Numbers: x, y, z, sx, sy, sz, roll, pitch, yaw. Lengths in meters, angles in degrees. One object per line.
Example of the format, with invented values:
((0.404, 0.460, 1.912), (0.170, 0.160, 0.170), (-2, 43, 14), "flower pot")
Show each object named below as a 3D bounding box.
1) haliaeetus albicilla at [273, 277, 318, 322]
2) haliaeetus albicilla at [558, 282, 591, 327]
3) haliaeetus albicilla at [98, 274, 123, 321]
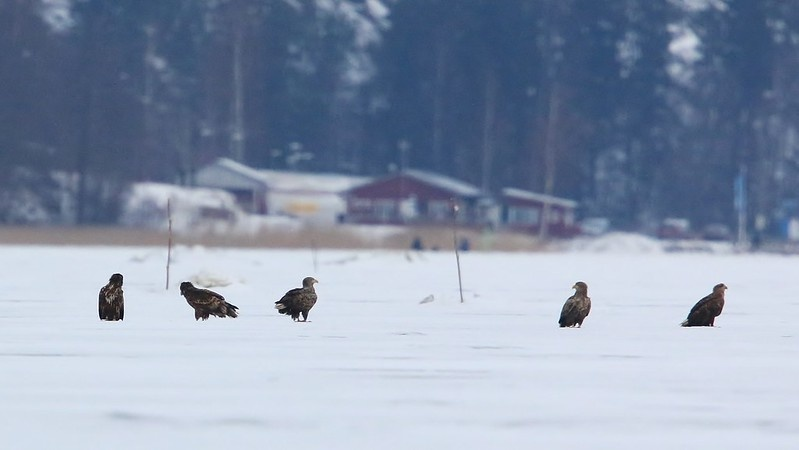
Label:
((-4.248, 3.163, 73.155), (1.610, 1.889, 0.776), (1, 6, -4), "haliaeetus albicilla")
((7.341, 3.372, 72.986), (1.285, 1.936, 0.790), (1, 6, -5), "haliaeetus albicilla")
((-11.975, 3.052, 72.891), (0.998, 1.975, 0.375), (0, 6, -8), "haliaeetus albicilla")
